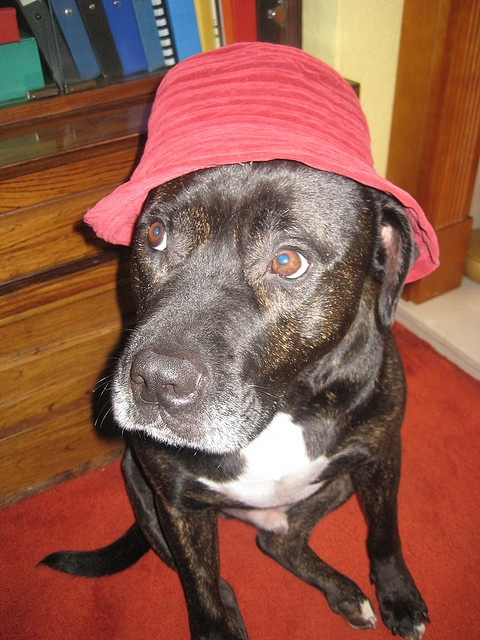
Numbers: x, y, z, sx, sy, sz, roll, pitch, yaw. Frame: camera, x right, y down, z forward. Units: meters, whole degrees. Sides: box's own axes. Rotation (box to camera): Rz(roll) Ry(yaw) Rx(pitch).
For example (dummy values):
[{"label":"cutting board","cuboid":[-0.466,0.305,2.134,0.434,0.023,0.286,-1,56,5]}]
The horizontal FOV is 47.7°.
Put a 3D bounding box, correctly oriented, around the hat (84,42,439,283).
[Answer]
[{"label":"hat","cuboid":[0.040,-0.419,1.451,0.809,0.595,0.410,12,82,1]}]
